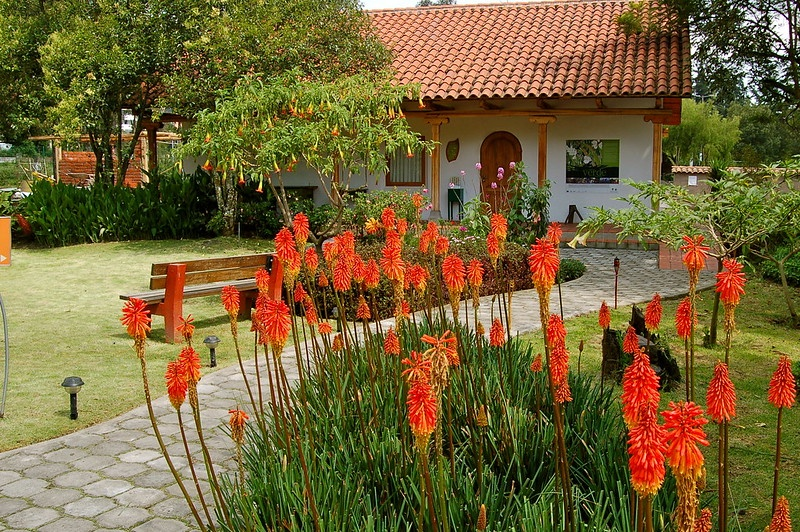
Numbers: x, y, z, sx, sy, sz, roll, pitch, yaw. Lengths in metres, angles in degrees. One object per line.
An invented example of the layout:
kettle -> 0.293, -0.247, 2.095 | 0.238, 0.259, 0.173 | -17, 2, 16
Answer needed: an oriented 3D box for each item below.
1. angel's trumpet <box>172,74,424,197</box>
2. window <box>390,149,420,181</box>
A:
angel's trumpet -> -1.986, -2.582, 13.582 | 3.344, 2.022, 3.438 | -1, 12, -3
window -> 0.211, -2.960, 20.814 | 1.019, 0.088, 1.223 | 0, -37, -1
